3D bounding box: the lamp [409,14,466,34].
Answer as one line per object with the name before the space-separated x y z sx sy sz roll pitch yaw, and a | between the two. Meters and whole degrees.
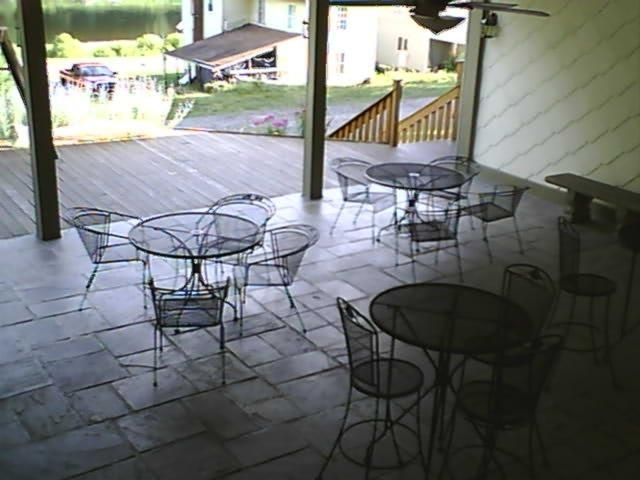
lamp | 1.086 -1.997 4.992 0.489 0.166 0.192 5 24 9
